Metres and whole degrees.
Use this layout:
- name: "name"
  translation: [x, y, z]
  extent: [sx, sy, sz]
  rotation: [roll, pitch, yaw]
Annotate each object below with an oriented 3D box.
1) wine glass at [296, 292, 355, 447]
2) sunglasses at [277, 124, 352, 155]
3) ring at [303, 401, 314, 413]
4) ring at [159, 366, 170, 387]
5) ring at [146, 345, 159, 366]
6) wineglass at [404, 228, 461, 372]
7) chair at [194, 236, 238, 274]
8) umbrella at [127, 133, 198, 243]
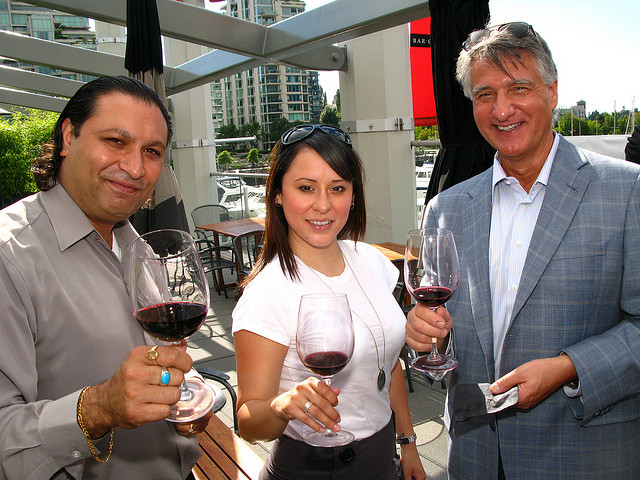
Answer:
- name: "wine glass"
  translation: [0.020, 0.472, 1.432]
  extent: [0.189, 0.612, 0.272]
  rotation: [-5, 9, -6]
- name: "sunglasses"
  translation: [-0.025, -0.436, 1.783]
  extent: [0.319, 0.125, 0.130]
  rotation: [-5, 8, -2]
- name: "ring"
  translation: [-0.034, 0.496, 1.255]
  extent: [0.030, 0.031, 0.021]
  rotation: [-10, 8, -26]
- name: "ring"
  translation: [-0.413, 0.371, 1.123]
  extent: [0.017, 0.038, 0.038]
  rotation: [-9, 22, -17]
- name: "ring"
  translation: [-0.456, 0.320, 1.142]
  extent: [0.031, 0.046, 0.039]
  rotation: [-8, 9, -26]
- name: "wineglass"
  translation: [0.456, 0.240, 1.684]
  extent: [0.191, 0.554, 0.211]
  rotation: [-2, 6, 5]
- name: "chair"
  translation: [-1.556, 0.232, 6.349]
  extent: [0.478, 0.756, 0.483]
  rotation: [-5, 16, -20]
- name: "umbrella"
  translation: [-1.257, -0.332, 3.394]
  extent: [0.416, 0.904, 0.376]
  rotation: [8, 24, -5]
